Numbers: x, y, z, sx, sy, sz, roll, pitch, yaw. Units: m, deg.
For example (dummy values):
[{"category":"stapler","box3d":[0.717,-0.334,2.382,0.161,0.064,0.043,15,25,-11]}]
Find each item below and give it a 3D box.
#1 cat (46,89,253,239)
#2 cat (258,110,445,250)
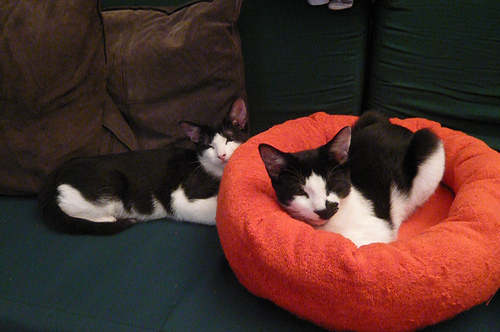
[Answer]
[{"category":"cat","box3d":[-0.486,0.059,2.577,1.112,0.470,0.735,0,90,-4]},{"category":"cat","box3d":[0.483,0.067,2.106,0.476,0.418,0.720,10,46,36]}]
